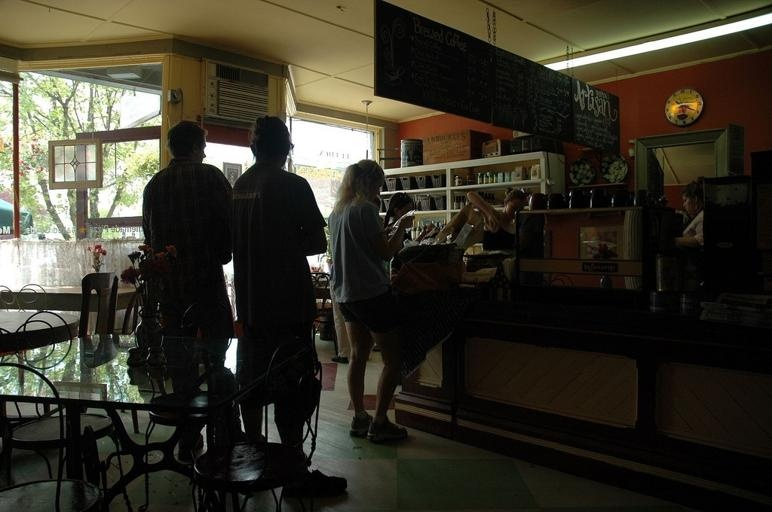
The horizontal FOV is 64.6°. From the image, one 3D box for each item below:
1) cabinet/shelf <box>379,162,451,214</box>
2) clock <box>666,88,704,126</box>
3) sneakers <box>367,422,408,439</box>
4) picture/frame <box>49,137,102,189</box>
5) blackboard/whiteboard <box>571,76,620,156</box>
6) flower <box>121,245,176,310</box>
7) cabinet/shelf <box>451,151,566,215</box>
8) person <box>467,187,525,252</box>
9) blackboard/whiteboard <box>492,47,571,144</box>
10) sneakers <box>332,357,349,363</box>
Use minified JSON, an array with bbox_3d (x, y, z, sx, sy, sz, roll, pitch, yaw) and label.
[{"bbox_3d":[0.235,-0.939,9.428,1.379,0.819,0.433,-3,15,-11],"label":"cabinet/shelf"},{"bbox_3d":[3.729,-1.836,7.543,0.073,0.554,0.509,9,-5,-43],"label":"clock"},{"bbox_3d":[0.014,1.346,4.738,0.311,0.150,0.124,-1,-1,-22],"label":"sneakers"},{"bbox_3d":[-3.640,-1.093,7.199,0.615,0.556,0.064,0,-1,-2],"label":"picture/frame"},{"bbox_3d":[2.508,-1.650,7.329,0.105,0.753,1.241,0,1,42],"label":"blackboard/whiteboard"},{"bbox_3d":[-1.454,0.102,3.885,0.402,0.392,0.390,5,7,45],"label":"flower"},{"bbox_3d":[1.560,-1.098,8.688,1.403,0.818,0.390,-9,37,7],"label":"cabinet/shelf"},{"bbox_3d":[1.043,-0.339,5.618,0.445,0.612,0.866,5,16,16],"label":"person"},{"bbox_3d":[1.617,-1.683,6.495,0.026,0.745,1.408,-17,30,-16],"label":"blackboard/whiteboard"},{"bbox_3d":[-0.473,1.118,6.569,0.194,0.081,0.065,7,4,37],"label":"sneakers"}]
